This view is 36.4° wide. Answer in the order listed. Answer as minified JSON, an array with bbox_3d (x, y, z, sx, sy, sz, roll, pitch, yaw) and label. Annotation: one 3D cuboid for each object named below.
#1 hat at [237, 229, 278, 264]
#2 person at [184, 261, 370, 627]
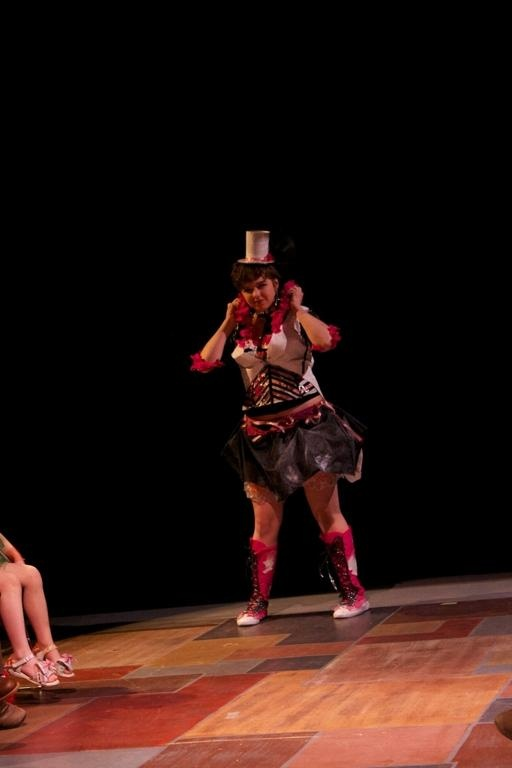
[{"bbox_3d":[0.009,-0.456,2.629,0.167,0.117,0.154,0,9,4],"label":"hat"},{"bbox_3d":[0.078,0.181,2.592,0.520,1.175,0.341,-11,-8,8],"label":"person"}]
